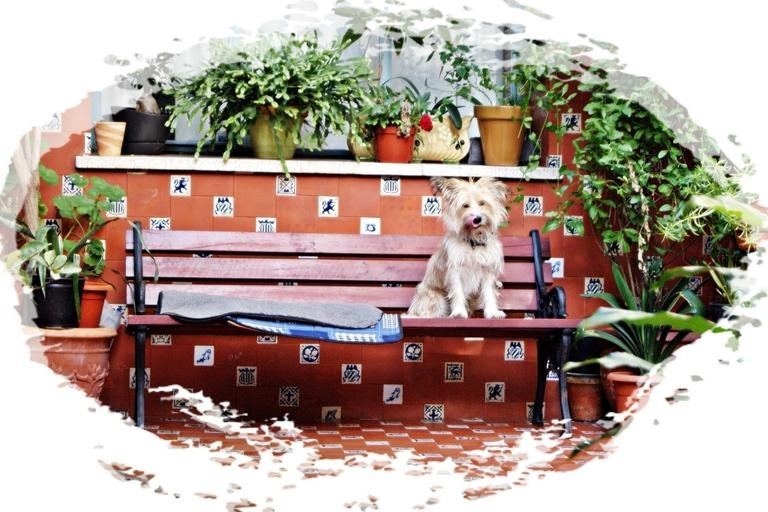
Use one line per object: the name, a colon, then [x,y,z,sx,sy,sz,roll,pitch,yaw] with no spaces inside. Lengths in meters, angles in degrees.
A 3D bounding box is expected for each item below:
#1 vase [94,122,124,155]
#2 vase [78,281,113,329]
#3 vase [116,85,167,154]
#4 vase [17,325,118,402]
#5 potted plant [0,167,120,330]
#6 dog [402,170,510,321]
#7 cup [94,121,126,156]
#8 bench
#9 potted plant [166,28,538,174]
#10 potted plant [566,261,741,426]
vase: [-1.919,-0.797,6.135,0.242,0.245,0.222,5,8,-14]
vase: [-1.852,0.318,5.631,0.256,0.194,0.245,5,-8,-21]
vase: [-1.675,-0.889,6.177,0.439,0.422,0.335,3,-1,0]
vase: [-1.920,0.600,5.453,0.596,0.456,0.599,-4,-7,39]
potted plant: [-2.099,-0.017,5.848,0.915,0.923,0.944,-4,-8,24]
dog: [0.521,-0.010,5.828,0.813,1.127,0.843,2,-11,-9]
cup: [-1.929,-0.793,6.140,0.242,0.247,0.227,4,7,0]
bench: [-0.215,0.501,5.703,3.084,1.310,0.853,1,7,-5]
potted plant: [-0.538,-1.056,6.154,1.885,0.989,0.495,0,7,-14]
potted plant: [1.552,0.487,5.246,1.057,1.030,1.052,-1,2,-18]
